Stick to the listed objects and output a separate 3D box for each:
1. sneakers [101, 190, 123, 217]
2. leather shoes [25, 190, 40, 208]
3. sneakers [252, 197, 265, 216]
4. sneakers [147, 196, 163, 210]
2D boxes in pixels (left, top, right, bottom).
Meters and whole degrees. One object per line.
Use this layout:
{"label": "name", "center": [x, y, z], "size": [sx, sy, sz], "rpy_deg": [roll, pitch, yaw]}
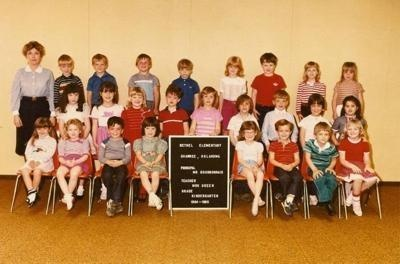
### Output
{"label": "sneakers", "center": [-1.359, 1.075, 5.563], "size": [0.218, 0.239, 0.562], "rpy_deg": [-1, 7, -35]}
{"label": "leather shoes", "center": [-2.454, 0.975, 5.386], "size": [0.125, 0.243, 0.091], "rpy_deg": [-2, -11, 29]}
{"label": "sneakers", "center": [0.872, 1.097, 5.504], "size": [0.210, 0.281, 0.501], "rpy_deg": [1, -1, 8]}
{"label": "sneakers", "center": [-0.637, 1.011, 5.277], "size": [0.186, 0.194, 0.145], "rpy_deg": [1, -1, 0]}
